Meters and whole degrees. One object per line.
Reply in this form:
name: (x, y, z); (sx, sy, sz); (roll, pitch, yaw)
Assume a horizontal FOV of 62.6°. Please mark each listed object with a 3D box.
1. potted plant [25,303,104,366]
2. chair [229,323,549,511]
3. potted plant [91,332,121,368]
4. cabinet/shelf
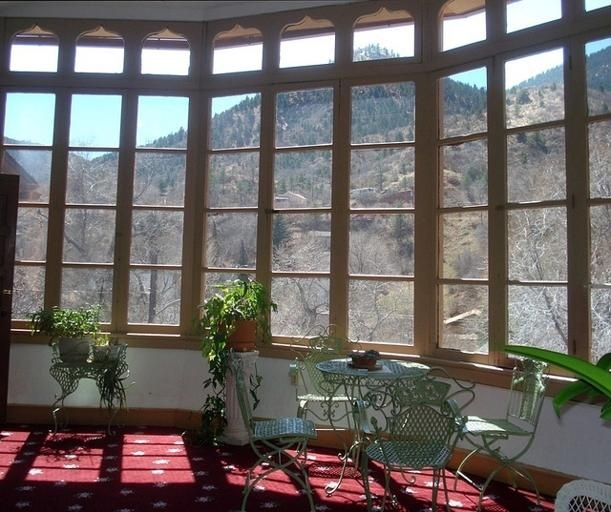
potted plant: (-2.517, 0.829, 5.269); (0.454, 0.535, 0.532); (-3, -13, -23)
chair: (0.643, 1.181, 3.981); (1.444, 0.787, 1.521); (1, -4, -4)
potted plant: (-2.001, 0.956, 5.067); (0.254, 0.247, 0.265); (10, -10, -39)
cabinet/shelf: (-2.256, 1.289, 5.201); (0.670, 1.007, 0.813); (2, -6, -22)
